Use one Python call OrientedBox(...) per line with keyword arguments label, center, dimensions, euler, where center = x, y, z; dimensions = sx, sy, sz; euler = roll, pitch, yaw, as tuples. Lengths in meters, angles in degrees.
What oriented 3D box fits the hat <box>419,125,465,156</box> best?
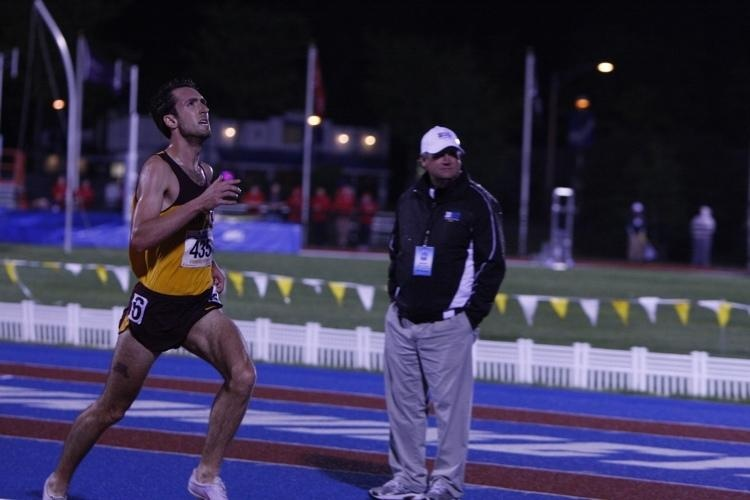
OrientedBox(label="hat", center=(0.969, -1.521, 20.352), dimensions=(0.574, 0.404, 0.336), euler=(5, 3, 2))
